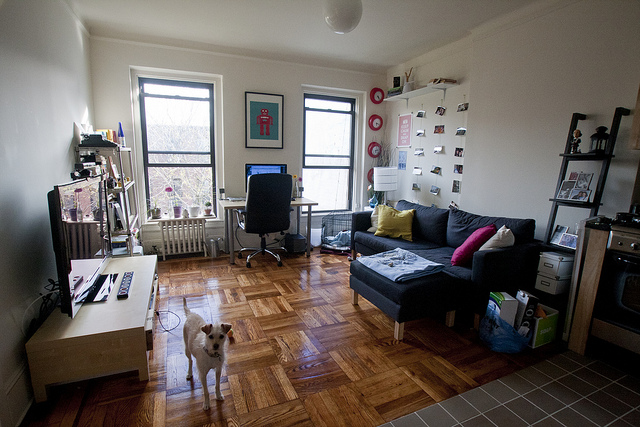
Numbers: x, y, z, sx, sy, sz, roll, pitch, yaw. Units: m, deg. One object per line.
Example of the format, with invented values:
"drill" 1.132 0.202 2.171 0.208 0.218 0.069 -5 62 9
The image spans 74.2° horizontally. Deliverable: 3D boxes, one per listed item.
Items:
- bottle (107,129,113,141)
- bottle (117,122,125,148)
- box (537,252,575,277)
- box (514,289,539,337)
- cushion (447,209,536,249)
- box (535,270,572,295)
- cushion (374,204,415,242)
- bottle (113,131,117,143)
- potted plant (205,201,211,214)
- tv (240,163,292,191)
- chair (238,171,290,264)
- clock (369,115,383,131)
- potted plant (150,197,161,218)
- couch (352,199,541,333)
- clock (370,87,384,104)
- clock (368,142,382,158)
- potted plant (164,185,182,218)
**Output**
"bottle" -2.509 -0.934 5.058 0.038 0.104 0.116 -2 10 -4
"bottle" -2.518 -1.005 5.361 0.084 0.294 0.357 -6 11 -24
"box" 2.381 0.498 4.227 0.311 0.205 0.191 -3 10 -14
"box" 1.927 0.902 3.995 0.080 0.328 0.233 9 7 -16
"cushion" 1.924 0.171 4.675 0.148 0.288 0.424 37 -8 -30
"box" 2.335 0.598 4.213 0.206 0.255 0.349 1 7 6
"cushion" 0.984 0.142 5.540 0.419 0.403 0.161 7 -23 15
"bottle" -2.605 -0.980 5.382 0.038 0.128 0.241 -5 11 -23
"potted plant" -1.590 -0.081 6.011 0.080 0.170 0.034 -4 10 -15
"tv" -0.762 -0.523 6.121 0.660 0.430 0.371 -1 2 -6
"chair" -0.766 0.028 5.838 0.761 1.242 0.731 -3 14 -20
"clock" 0.901 -1.451 6.751 0.229 0.221 0.053 3 9 -30
"potted plant" -2.239 -0.056 5.785 0.122 0.217 0.082 -5 11 -19
"couch" 1.382 0.432 5.229 1.012 1.031 2.250 -4 13 -26
"clock" 0.919 -1.868 6.740 0.257 0.248 0.051 -7 12 -31
"clock" 0.868 -1.034 6.813 0.216 0.210 0.050 7 5 -13
"potted plant" -2.029 -0.176 5.912 0.166 0.432 0.276 -8 12 -35
